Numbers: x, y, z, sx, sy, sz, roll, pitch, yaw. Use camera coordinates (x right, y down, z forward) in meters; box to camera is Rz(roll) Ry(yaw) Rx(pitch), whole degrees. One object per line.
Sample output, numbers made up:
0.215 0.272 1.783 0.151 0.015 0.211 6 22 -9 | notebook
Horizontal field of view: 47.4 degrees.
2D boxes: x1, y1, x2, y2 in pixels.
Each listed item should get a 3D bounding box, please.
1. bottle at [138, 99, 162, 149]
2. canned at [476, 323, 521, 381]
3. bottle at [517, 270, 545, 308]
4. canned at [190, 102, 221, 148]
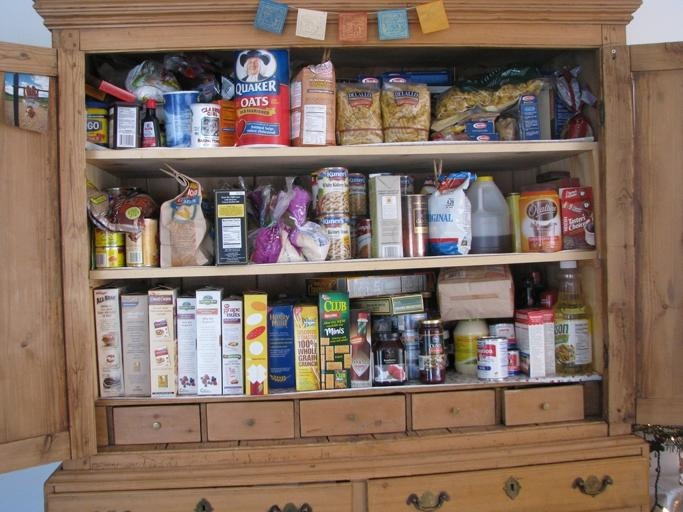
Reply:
-0.681 -0.488 2.865 0.069 0.177 0.089 -6 2 -5 | bottle
0.598 0.360 2.971 0.103 0.189 0.201 -5 1 37 | canned
0.751 0.133 3.154 0.108 0.131 0.196 -5 2 18 | bottle
-0.468 -0.474 2.829 0.121 0.158 0.066 -6 1 -10 | canned
